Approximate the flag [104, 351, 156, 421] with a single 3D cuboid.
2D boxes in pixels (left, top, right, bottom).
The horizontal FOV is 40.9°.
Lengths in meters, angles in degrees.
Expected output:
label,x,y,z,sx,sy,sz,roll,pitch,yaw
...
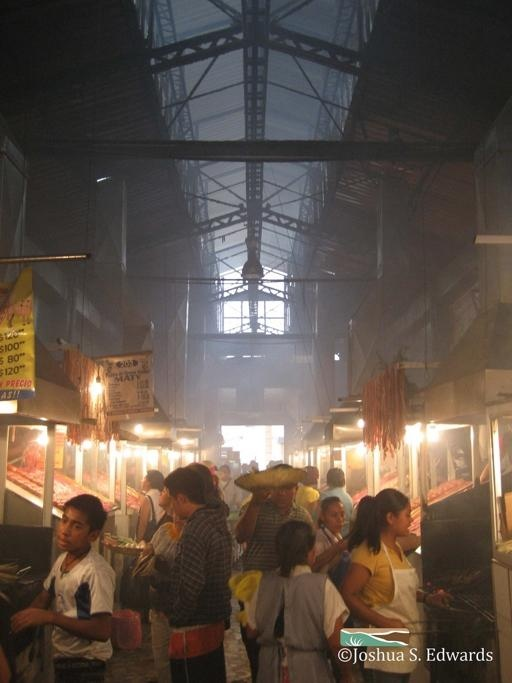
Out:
label,x,y,z,sx,sy,sz,roll,pitch,yaw
flag,-1.206,0.423,6.473,0.528,0.773,0.095,-4,-27,-2
